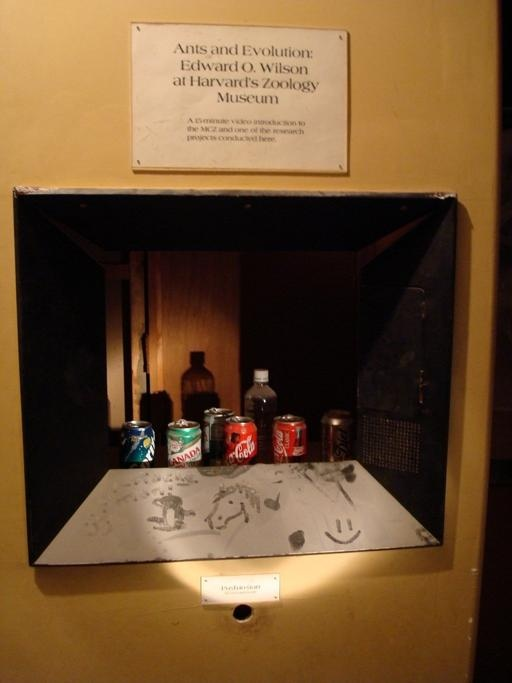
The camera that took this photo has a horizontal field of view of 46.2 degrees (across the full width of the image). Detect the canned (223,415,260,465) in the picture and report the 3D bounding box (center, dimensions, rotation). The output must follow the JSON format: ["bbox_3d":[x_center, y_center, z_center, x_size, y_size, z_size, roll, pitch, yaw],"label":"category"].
[{"bbox_3d":[-0.031,0.205,1.225,0.071,0.145,0.078,1,-7,-12],"label":"canned"}]

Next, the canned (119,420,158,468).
[{"bbox_3d":[-0.246,0.217,1.259,0.055,0.109,0.059,-1,23,-24],"label":"canned"}]

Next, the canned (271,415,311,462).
[{"bbox_3d":[0.072,0.215,1.282,0.059,0.123,0.066,-9,20,-24],"label":"canned"}]
